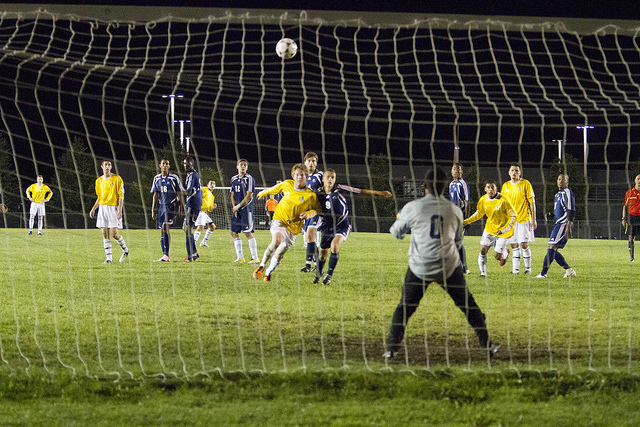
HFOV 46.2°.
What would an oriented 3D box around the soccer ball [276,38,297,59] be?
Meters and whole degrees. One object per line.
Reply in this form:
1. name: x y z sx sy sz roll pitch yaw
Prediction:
1. soccer ball: -0.541 -2.726 12.440 0.345 0.359 0.241 0 -3 -4
